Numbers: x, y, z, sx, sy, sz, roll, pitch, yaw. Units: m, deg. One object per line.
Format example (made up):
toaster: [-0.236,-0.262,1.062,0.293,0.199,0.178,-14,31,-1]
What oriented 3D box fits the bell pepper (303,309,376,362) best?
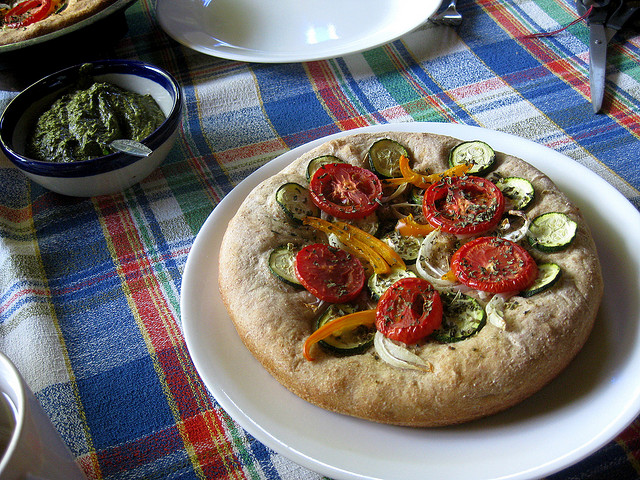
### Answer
bell pepper: [0.070,0.452,2.790,0.479,0.071,0.165,-25,59,-9]

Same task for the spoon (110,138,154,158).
spoon: [-1.224,-0.612,3.602,0.239,0.031,0.122,22,53,18]
